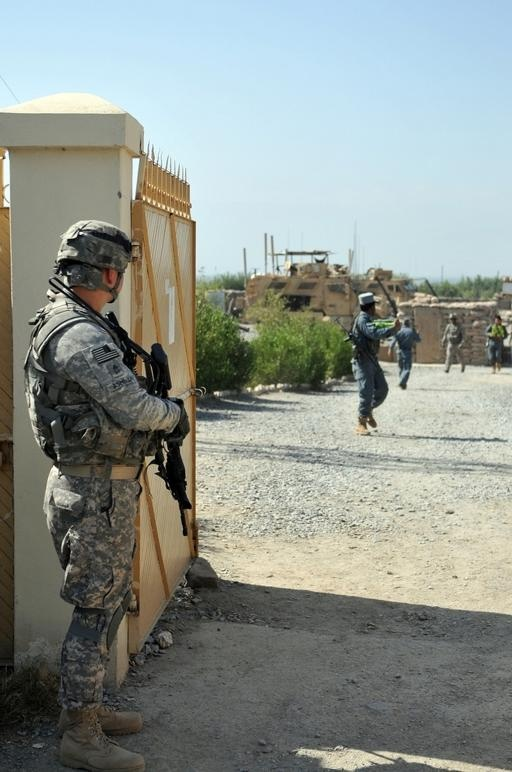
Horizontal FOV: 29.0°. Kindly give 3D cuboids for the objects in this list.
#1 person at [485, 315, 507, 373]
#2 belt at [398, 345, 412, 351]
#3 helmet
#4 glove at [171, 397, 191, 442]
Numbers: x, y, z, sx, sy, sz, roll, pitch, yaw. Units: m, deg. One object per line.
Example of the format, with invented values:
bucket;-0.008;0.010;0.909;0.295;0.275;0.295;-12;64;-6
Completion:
person;5.696;-1.034;23.699;0.425;1.383;1.728;2;5;13
belt;2.759;-0.693;18.200;0.374;0.130;0.196;-4;7;-43
helmet;-0.554;-0.496;3.430;0.164;0.167;0.214;10;16;30
glove;-0.259;0.125;3.540;0.056;0.129;0.099;-9;13;-41
